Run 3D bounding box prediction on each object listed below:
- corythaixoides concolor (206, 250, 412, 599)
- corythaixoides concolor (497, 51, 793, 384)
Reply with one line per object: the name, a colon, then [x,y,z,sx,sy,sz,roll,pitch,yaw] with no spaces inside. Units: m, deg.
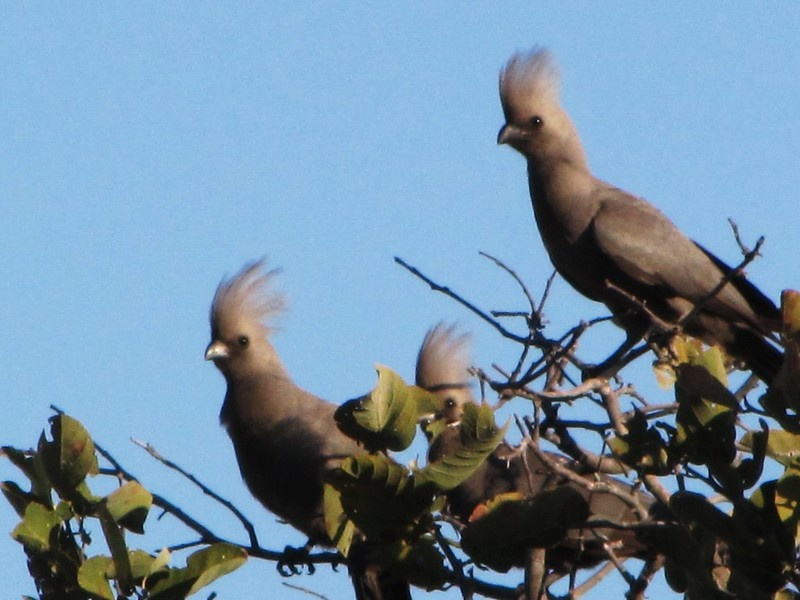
corythaixoides concolor: [-0.424,0.801,8.757,1.303,1.474,0.617,28,-37,-26]
corythaixoides concolor: [1.285,-0.248,10.130,1.633,2.179,0.696,23,-52,-25]
